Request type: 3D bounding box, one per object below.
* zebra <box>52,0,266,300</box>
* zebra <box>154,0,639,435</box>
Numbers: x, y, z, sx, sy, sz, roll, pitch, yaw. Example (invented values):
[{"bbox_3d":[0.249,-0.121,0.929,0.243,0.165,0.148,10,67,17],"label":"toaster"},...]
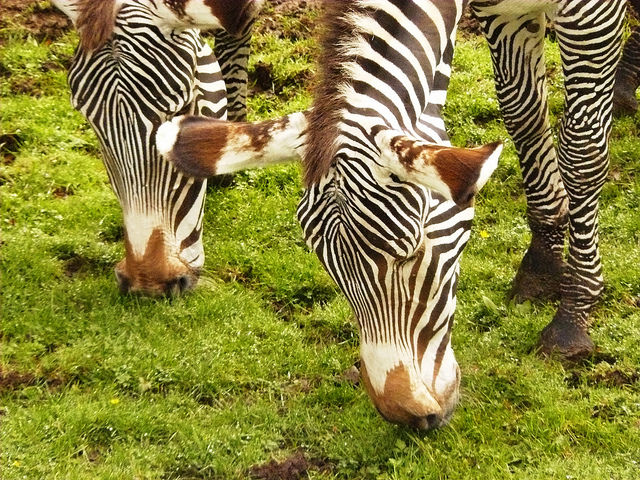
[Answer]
[{"bbox_3d":[-1.171,-0.587,6.151,1.089,1.793,2.293,3,58,5],"label":"zebra"},{"bbox_3d":[0.932,-0.257,5.662,1.755,3.132,3.876,1,-14,34],"label":"zebra"}]
